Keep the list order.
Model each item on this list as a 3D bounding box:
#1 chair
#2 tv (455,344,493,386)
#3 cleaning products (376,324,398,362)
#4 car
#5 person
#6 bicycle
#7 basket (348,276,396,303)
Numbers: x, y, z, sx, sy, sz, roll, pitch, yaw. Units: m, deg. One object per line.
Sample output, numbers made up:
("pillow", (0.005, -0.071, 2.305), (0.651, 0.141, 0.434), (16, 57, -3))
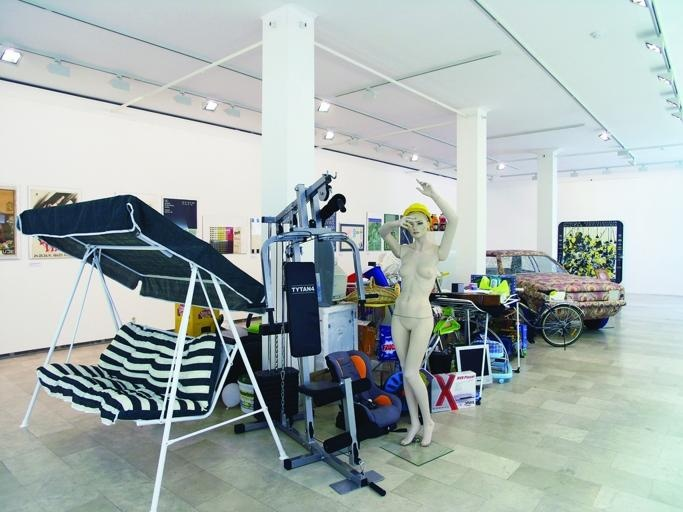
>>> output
("chair", (0.221, 1.410, 5.095), (0.576, 0.778, 0.727), (2, -5, -44))
("tv", (1.673, 1.341, 6.034), (0.465, 0.459, 0.160), (15, -41, -23))
("cleaning products", (0.603, 1.218, 6.750), (0.321, 0.489, 0.341), (9, -16, -41))
("car", (3.796, 0.480, 8.798), (1.513, 1.112, 2.565), (1, 1, -28))
("person", (0.771, 0.521, 4.968), (0.719, 2.506, 1.034), (0, 13, 1))
("bicycle", (3.262, 0.999, 8.428), (1.717, 1.054, 0.866), (-8, -16, 44))
("basket", (0.473, 0.483, 6.467), (0.402, 0.190, 0.447), (1, 1, 28))
